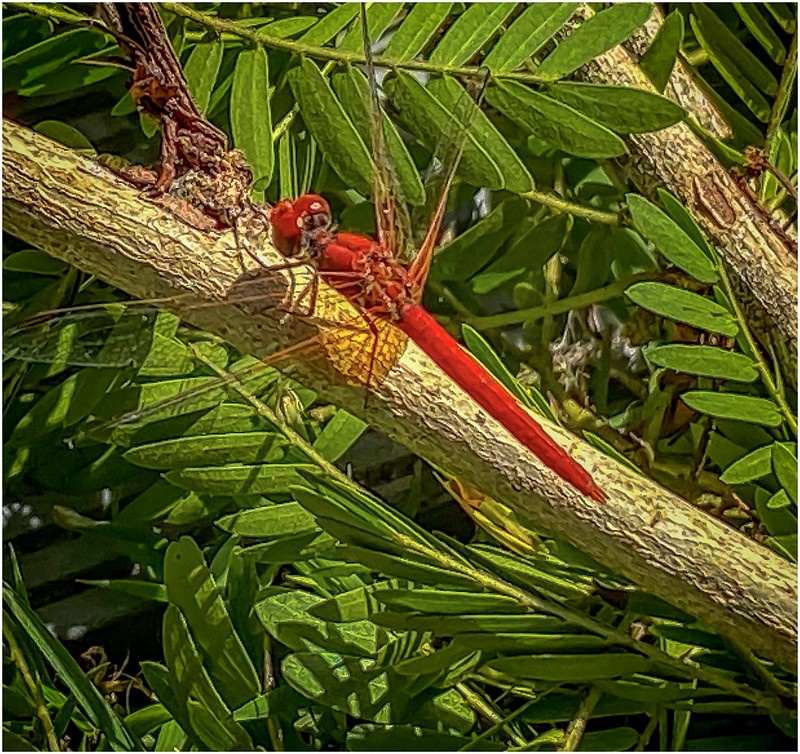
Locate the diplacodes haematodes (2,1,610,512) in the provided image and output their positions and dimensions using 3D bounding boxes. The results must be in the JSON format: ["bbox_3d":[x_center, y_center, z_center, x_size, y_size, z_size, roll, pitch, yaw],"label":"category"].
[{"bbox_3d":[-0.027,-0.201,1.262,0.833,0.513,0.349,17,34,11],"label":"diplacodes haematodes"}]
